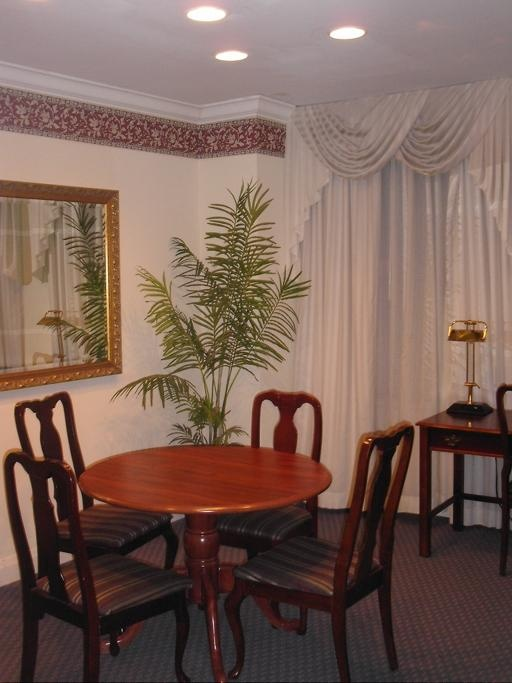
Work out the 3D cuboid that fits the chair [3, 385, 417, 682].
[{"bbox_3d":[-0.040,0.740,2.045,1.218,0.834,0.983,-1,0,23],"label":"chair"}]
